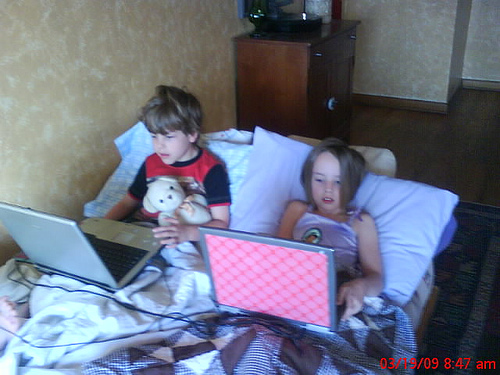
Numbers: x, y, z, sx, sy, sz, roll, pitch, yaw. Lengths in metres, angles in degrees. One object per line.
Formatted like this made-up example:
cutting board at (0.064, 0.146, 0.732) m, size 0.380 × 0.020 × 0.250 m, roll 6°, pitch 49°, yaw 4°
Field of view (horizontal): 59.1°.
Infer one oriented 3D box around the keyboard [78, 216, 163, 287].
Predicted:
keyboard at (-0.526, 0.234, 1.678) m, size 0.363 × 0.032 × 0.318 m, roll 10°, pitch 34°, yaw 18°

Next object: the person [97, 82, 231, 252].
person at (-0.362, -0.061, 1.862) m, size 0.532 × 0.715 × 0.496 m, roll 9°, pitch 17°, yaw 27°

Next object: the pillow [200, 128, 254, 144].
pillow at (-0.098, -0.253, 2.198) m, size 0.151 × 0.047 × 0.117 m, roll -6°, pitch 28°, yaw 9°

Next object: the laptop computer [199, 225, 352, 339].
laptop computer at (0.087, 0.234, 1.580) m, size 0.507 × 0.388 × 0.429 m, roll 10°, pitch 42°, yaw -2°

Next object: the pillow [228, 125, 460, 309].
pillow at (0.380, -0.020, 2.203) m, size 0.864 × 0.257 × 1.212 m, roll -3°, pitch 26°, yaw 2°

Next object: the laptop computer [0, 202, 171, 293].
laptop computer at (-0.590, 0.140, 1.603) m, size 0.435 × 0.321 × 0.381 m, roll 8°, pitch 28°, yaw 22°

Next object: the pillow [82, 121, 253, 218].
pillow at (-0.344, -0.093, 2.047) m, size 0.542 × 0.169 × 0.559 m, roll 7°, pitch 58°, yaw 12°
